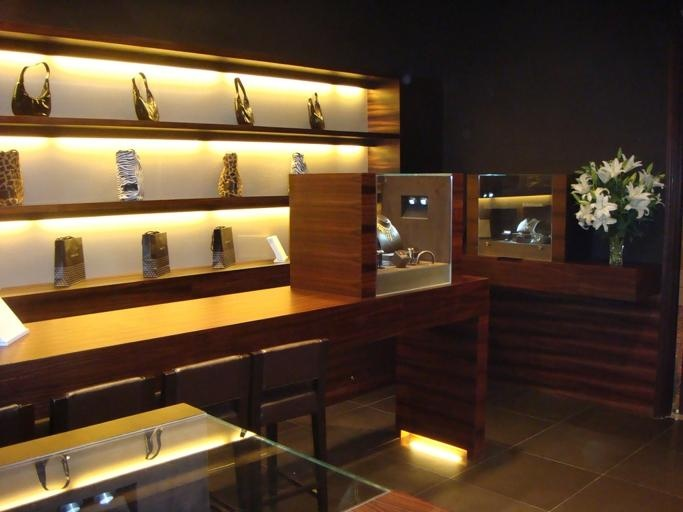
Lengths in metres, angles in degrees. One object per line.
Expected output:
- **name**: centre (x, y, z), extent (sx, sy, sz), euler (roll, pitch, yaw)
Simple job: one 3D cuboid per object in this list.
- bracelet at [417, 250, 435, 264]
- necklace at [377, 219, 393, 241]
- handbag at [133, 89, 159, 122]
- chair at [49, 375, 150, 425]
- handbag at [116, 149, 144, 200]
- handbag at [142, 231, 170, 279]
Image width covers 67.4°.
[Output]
- **bracelet**: centre (0.525, 0.010, 3.145), extent (0.113, 0.074, 0.063), euler (2, 3, -3)
- **necklace**: centre (0.260, -0.161, 3.062), extent (0.085, 0.120, 0.083), euler (-1, 6, -1)
- **handbag**: centre (-1.392, -1.064, 3.652), extent (0.149, 0.233, 0.280), euler (-3, 6, -22)
- **chair**: centre (-0.852, 0.431, 1.782), extent (0.251, 0.171, 0.135), euler (-3, 6, -45)
- **handbag**: centre (-1.472, -0.565, 3.562), extent (0.160, 0.354, 0.111), euler (-3, 6, -22)
- **handbag**: centre (-1.324, -0.004, 3.641), extent (0.136, 0.360, 0.318), euler (3, 4, 19)
